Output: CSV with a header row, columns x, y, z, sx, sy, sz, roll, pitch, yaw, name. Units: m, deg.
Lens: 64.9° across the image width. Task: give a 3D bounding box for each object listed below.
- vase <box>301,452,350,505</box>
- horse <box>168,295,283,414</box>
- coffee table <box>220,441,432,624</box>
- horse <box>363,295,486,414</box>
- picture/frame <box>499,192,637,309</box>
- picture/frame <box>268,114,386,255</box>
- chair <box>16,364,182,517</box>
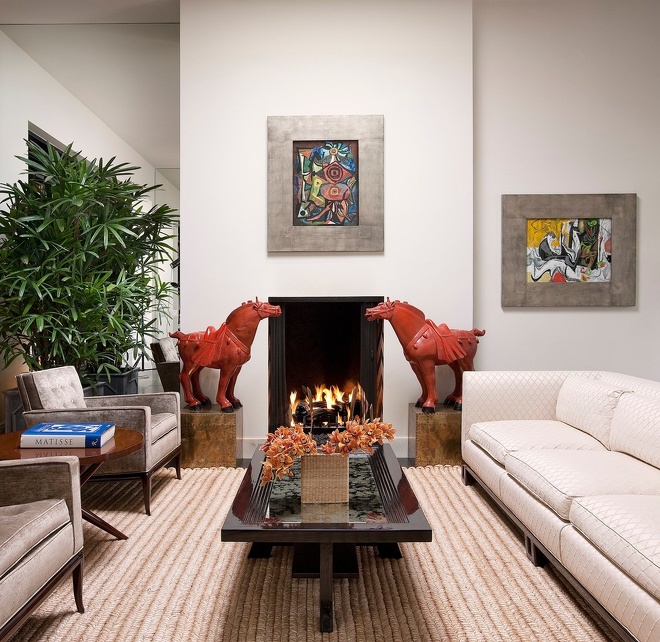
x,y,z,sx,sy,sz,roll,pitch,yaw,name
-0.023,0.663,2.173,0.198,0.206,0.205,0,-3,-2,vase
-0.812,0.273,3.998,0.803,0.852,0.343,3,5,9,horse
-0.024,0.927,2.352,0.779,0.389,0.910,0,3,-1,coffee table
0.747,0.243,3.895,0.925,0.824,0.346,1,-6,-8,horse
1.980,-0.586,4.235,0.871,0.817,0.036,0,-1,0,picture/frame
-0.023,-1.098,4.140,0.826,1.024,0.063,2,-9,0,picture/frame
-1.307,0.623,3.235,0.869,0.967,0.802,0,0,0,chair
